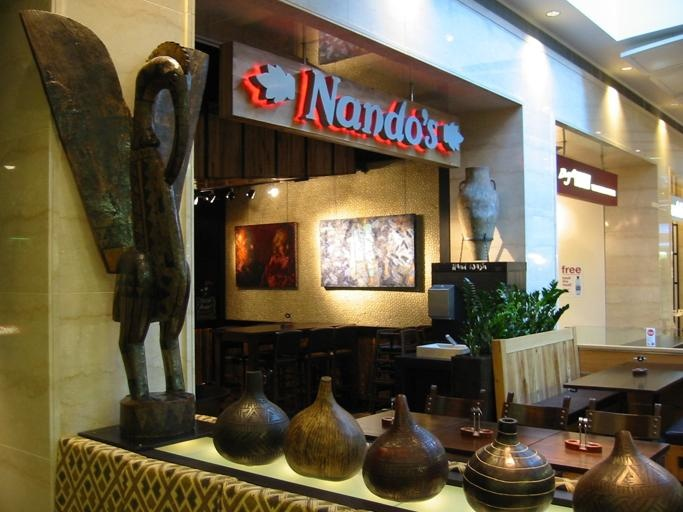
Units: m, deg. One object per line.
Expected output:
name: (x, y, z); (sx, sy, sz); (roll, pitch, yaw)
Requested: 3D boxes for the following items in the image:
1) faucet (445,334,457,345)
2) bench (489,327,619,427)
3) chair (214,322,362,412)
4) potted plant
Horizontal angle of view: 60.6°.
faucet: (1.282, 0.976, 6.857); (0.044, 0.062, 0.197); (37, 6, 25)
bench: (2.264, 1.366, 6.006); (0.680, 1.127, 1.768); (3, 3, 45)
chair: (-0.777, 1.667, 8.805); (2.441, 1.247, 2.219); (3, -4, -37)
potted plant: (1.880, 0.751, 6.490); (0.931, 0.668, 0.955); (-7, -11, 39)
